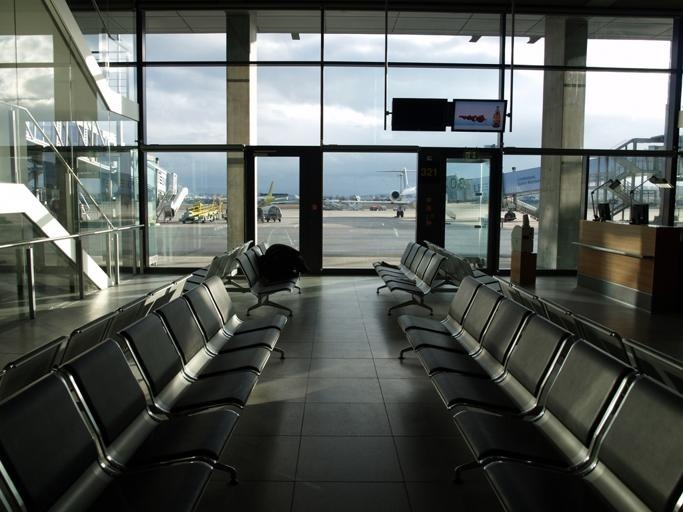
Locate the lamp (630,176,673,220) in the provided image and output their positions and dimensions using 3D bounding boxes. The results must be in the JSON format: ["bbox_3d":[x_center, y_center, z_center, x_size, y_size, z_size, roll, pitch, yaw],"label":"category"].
[{"bbox_3d":[4.657,-0.799,7.317,0.417,0.642,0.338,-10,-3,32],"label":"lamp"}]

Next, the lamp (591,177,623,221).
[{"bbox_3d":[4.312,-0.954,8.199,0.492,0.603,1.951,4,10,28],"label":"lamp"}]
